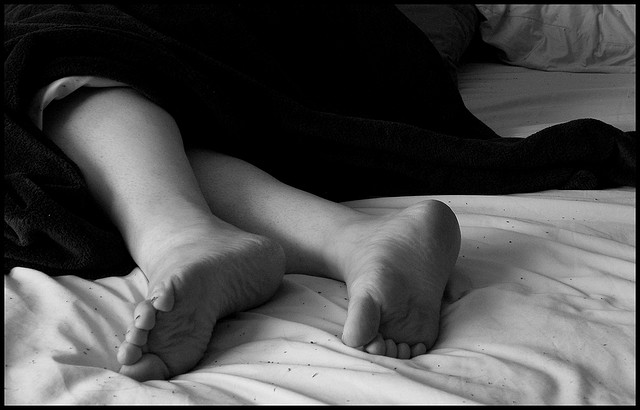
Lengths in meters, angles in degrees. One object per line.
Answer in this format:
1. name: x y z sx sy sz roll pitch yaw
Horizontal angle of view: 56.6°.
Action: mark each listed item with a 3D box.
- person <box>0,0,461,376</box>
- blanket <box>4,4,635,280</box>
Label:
1. person: -0.203 -0.105 1.046 0.617 0.405 0.842 -9 36 -15
2. blanket: -0.106 -0.184 1.391 1.073 0.361 0.813 -2 65 -32
